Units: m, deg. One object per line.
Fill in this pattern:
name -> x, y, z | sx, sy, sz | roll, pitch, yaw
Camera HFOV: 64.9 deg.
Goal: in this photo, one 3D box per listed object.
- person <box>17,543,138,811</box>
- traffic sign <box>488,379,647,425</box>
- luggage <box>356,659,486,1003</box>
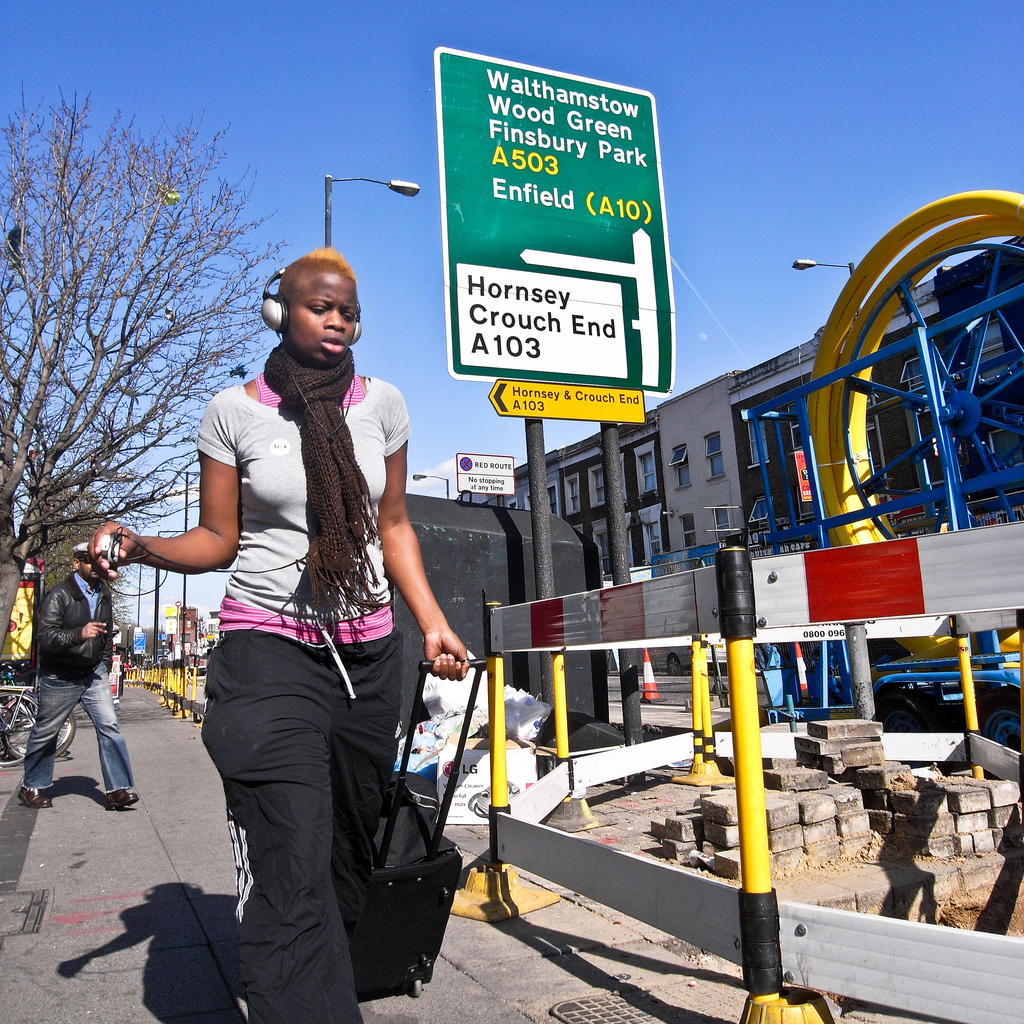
person -> -3.570, 1.329, 6.600 | 1.174, 2.132, 0.838 | -3, -6, 19
traffic sign -> 0.532, -0.996, 7.520 | 1.655, 0.363, 0.320 | 1, -7, -34
luggage -> -0.358, 0.861, 2.370 | 0.394, 1.088, 0.455 | 6, 18, -23
